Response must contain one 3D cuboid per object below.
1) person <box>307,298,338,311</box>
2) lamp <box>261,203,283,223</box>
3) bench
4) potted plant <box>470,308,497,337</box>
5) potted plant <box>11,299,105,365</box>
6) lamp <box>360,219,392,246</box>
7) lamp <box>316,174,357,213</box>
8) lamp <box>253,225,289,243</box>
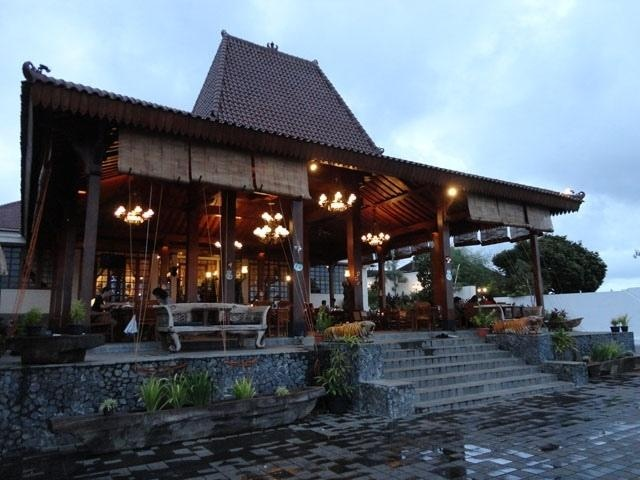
[{"bbox_3d":[0.070,2.451,17.040,1.048,0.270,0.994,2,-11,-17],"label":"person"},{"bbox_3d":[-1.473,-0.800,14.230,0.709,0.863,0.710,-1,6,-15],"label":"lamp"},{"bbox_3d":[-2.512,1.821,10.453,2.297,1.017,2.246,3,5,-26],"label":"bench"},{"bbox_3d":[5.017,2.558,13.909,0.765,1.084,0.801,2,-11,-5],"label":"potted plant"},{"bbox_3d":[-4.351,1.715,7.975,1.157,1.191,1.617,-5,-14,17],"label":"potted plant"},{"bbox_3d":[2.140,-0.333,17.497,0.759,1.007,0.780,6,-19,-22],"label":"lamp"},{"bbox_3d":[0.351,-1.368,13.597,1.082,1.477,1.124,-1,-12,13],"label":"lamp"},{"bbox_3d":[-1.389,-0.186,13.567,0.662,0.279,0.662,7,-9,-37],"label":"lamp"}]
